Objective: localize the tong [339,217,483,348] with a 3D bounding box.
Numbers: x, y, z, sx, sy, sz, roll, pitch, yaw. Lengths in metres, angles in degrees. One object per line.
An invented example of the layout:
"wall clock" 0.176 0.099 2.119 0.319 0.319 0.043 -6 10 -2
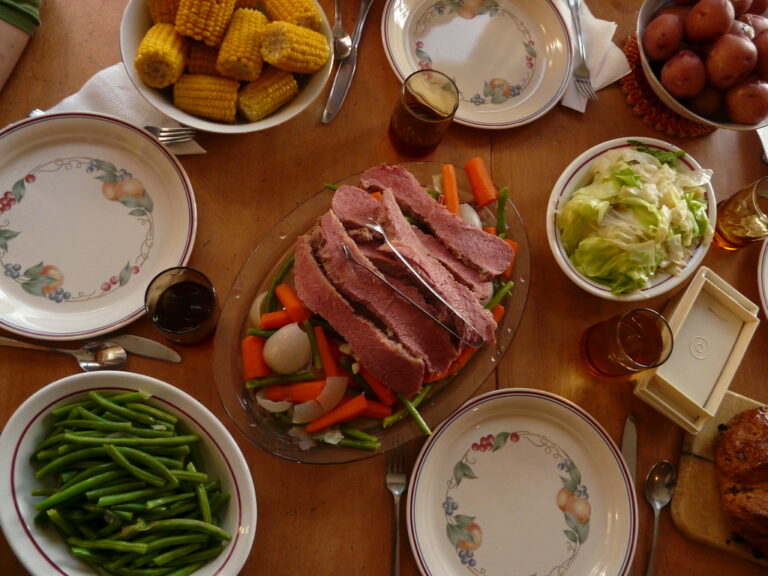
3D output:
"tong" 0.125 0.045 2.986 0.705 0.337 0.220 38 67 22

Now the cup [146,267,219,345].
"cup" -0.865 0.071 2.938 0.299 0.278 0.255 -42 64 -18

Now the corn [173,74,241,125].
"corn" -0.792 -0.833 3.060 0.286 0.180 0.138 1 58 6

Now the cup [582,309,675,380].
"cup" 1.082 0.239 3.079 0.247 0.335 0.327 -5 34 -12

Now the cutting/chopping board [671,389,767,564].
"cutting/chopping board" 1.423 0.873 2.985 0.482 0.030 0.697 21 81 4

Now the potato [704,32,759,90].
"potato" 1.558 -1.015 3.091 0.212 0.180 0.174 27 65 19

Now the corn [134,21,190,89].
"corn" -0.968 -1.017 2.996 0.182 0.174 0.255 6 62 9

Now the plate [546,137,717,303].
"plate" 1.114 -0.270 3.296 0.715 0.302 0.740 42 88 4

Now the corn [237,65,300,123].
"corn" -0.526 -0.868 3.109 0.286 0.130 0.182 -36 77 -23

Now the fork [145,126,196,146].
"fork" -0.961 -0.695 3.159 0.292 0.051 0.106 -5 79 -18

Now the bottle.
"bottle" 0.174 -0.788 3.093 0.205 0.401 0.271 -22 41 -31

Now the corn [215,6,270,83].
"corn" -0.606 -1.066 3.051 0.222 0.259 0.324 -3 38 -10

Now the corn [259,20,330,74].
"corn" -0.402 -1.045 3.008 0.106 0.289 0.189 -6 86 31

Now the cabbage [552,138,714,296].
"cabbage" 1.126 -0.316 3.114 0.790 0.279 0.661 -9 62 1
